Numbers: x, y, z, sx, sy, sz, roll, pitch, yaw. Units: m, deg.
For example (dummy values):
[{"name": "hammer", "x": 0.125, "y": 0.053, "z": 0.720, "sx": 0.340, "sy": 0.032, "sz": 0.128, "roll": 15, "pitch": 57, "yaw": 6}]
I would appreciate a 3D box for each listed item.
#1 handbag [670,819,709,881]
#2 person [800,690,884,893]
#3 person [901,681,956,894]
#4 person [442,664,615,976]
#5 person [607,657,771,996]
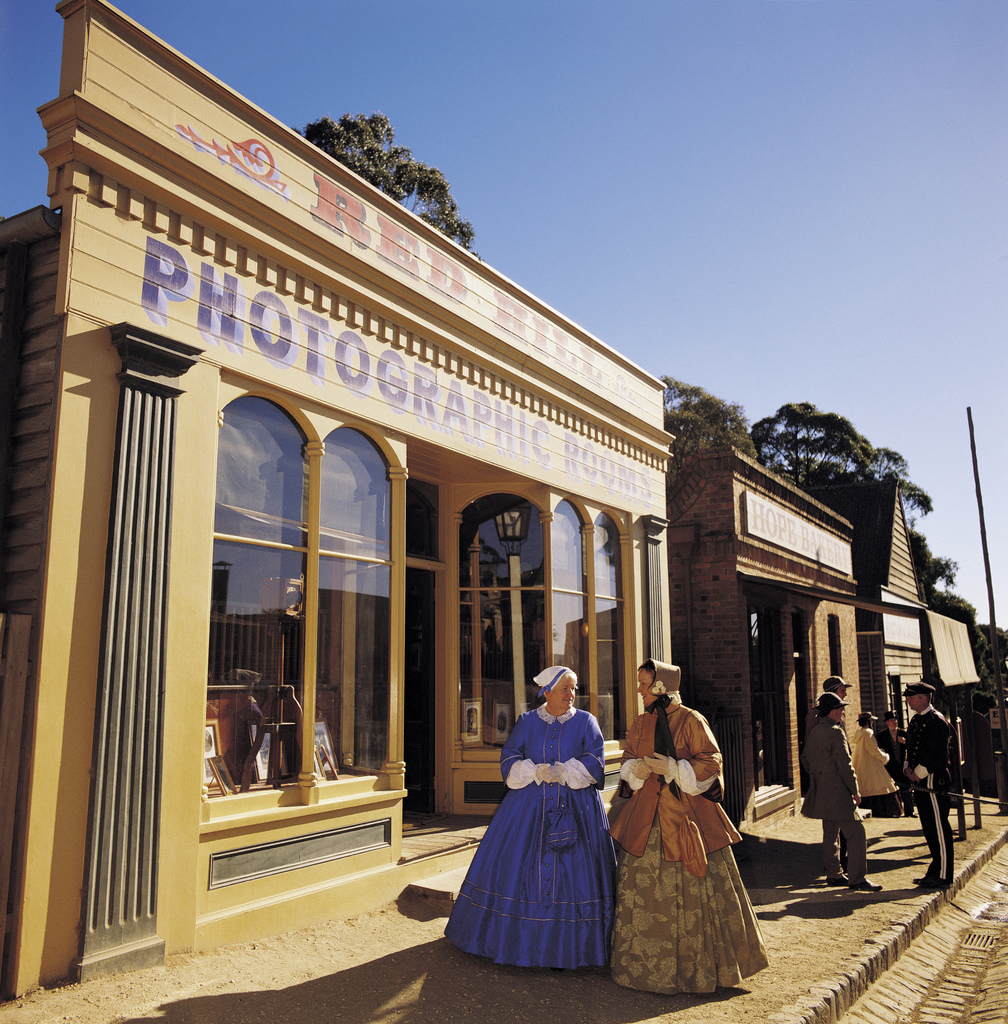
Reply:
[{"name": "handbag", "x": 1.073, "y": 1.934, "z": 4.386, "sx": 0.156, "sy": 0.299, "sz": 0.070, "roll": -3, "pitch": -20, "yaw": -11}, {"name": "person", "x": 3.543, "y": 2.898, "z": 8.096, "sx": 0.702, "sy": 1.969, "sz": 0.842, "roll": -7, "pitch": -15, "yaw": 39}, {"name": "person", "x": 4.602, "y": 2.880, "z": 8.211, "sx": 0.446, "sy": 2.069, "sz": 1.054, "roll": -5, "pitch": -14, "yaw": 30}, {"name": "person", "x": 0.233, "y": 1.792, "z": 4.794, "sx": 1.023, "sy": 1.651, "sz": 0.815, "roll": 2, "pitch": 1, "yaw": -5}, {"name": "person", "x": 1.073, "y": 1.835, "z": 4.600, "sx": 0.833, "sy": 1.826, "sz": 0.503, "roll": 1, "pitch": -12, "yaw": 6}]
